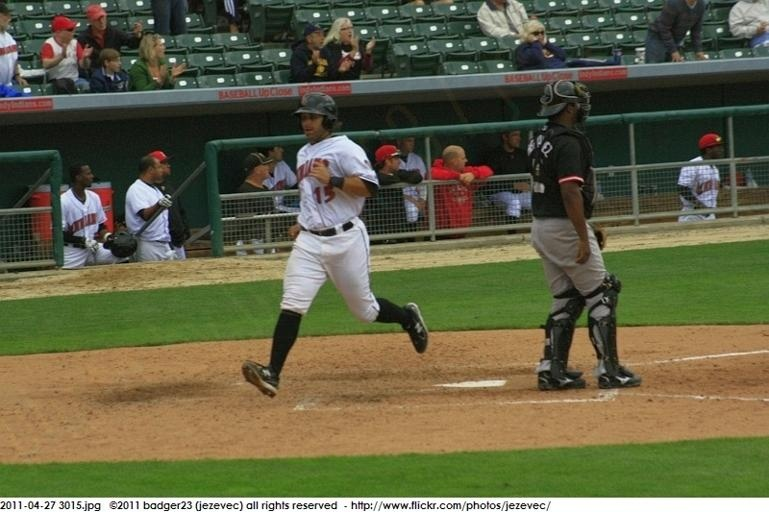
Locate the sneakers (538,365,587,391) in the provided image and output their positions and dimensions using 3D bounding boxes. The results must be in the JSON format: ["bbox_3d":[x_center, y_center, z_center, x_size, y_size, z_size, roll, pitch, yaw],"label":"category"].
[{"bbox_3d":[1.659,1.167,13.343,0.468,0.167,0.196,-2,2,-1],"label":"sneakers"}]

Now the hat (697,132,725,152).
[{"bbox_3d":[4.354,-1.544,18.946,0.436,0.152,0.267,-5,9,8],"label":"hat"}]

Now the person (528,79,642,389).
[{"bbox_3d":[1.786,-0.213,13.342,0.936,2.903,0.615,-5,10,7],"label":"person"}]

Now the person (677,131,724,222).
[{"bbox_3d":[4.210,-1.063,18.944,0.631,1.145,0.363,-5,10,8],"label":"person"}]

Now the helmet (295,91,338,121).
[{"bbox_3d":[-0.667,-1.412,13.305,0.382,0.259,0.214,-5,9,-7],"label":"helmet"}]

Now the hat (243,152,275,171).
[{"bbox_3d":[-1.668,-1.235,18.243,0.386,0.161,0.239,-17,14,-8],"label":"hat"}]

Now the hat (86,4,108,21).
[{"bbox_3d":[-3.927,-3.307,19.039,0.210,0.205,0.204,-6,8,-6],"label":"hat"}]

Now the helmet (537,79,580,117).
[{"bbox_3d":[1.644,-1.496,13.309,0.425,0.327,0.217,-4,9,4],"label":"helmet"}]

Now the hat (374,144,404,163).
[{"bbox_3d":[0.019,-1.321,17.910,0.268,0.143,0.312,-22,5,8],"label":"hat"}]

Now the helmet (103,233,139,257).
[{"bbox_3d":[-3.296,-0.146,17.792,0.450,0.260,0.329,-9,-9,41],"label":"helmet"}]

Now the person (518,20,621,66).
[{"bbox_3d":[2.656,-2.950,19.778,1.658,0.610,0.679,-5,2,9],"label":"person"}]

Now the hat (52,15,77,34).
[{"bbox_3d":[-4.213,-3.084,18.771,0.486,0.190,0.252,-2,27,-3],"label":"hat"}]

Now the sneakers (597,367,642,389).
[{"bbox_3d":[2.194,1.140,13.347,0.472,0.139,0.176,-3,4,-5],"label":"sneakers"}]

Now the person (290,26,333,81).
[{"bbox_3d":[-1.038,-2.741,18.985,0.560,0.778,0.467,-6,9,-7],"label":"person"}]

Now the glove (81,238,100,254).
[{"bbox_3d":[-3.732,-0.147,17.790,0.150,0.070,0.194,13,5,-39],"label":"glove"}]

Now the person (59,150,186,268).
[{"bbox_3d":[-3.385,-0.590,17.895,1.543,1.386,0.840,-6,9,-7],"label":"person"}]

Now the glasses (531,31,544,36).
[{"bbox_3d":[2.130,-3.108,19.584,0.212,0.051,0.063,-9,9,-41],"label":"glasses"}]

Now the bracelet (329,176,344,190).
[{"bbox_3d":[-0.458,-0.700,13.128,0.158,0.044,0.096,-11,26,0],"label":"bracelet"}]
